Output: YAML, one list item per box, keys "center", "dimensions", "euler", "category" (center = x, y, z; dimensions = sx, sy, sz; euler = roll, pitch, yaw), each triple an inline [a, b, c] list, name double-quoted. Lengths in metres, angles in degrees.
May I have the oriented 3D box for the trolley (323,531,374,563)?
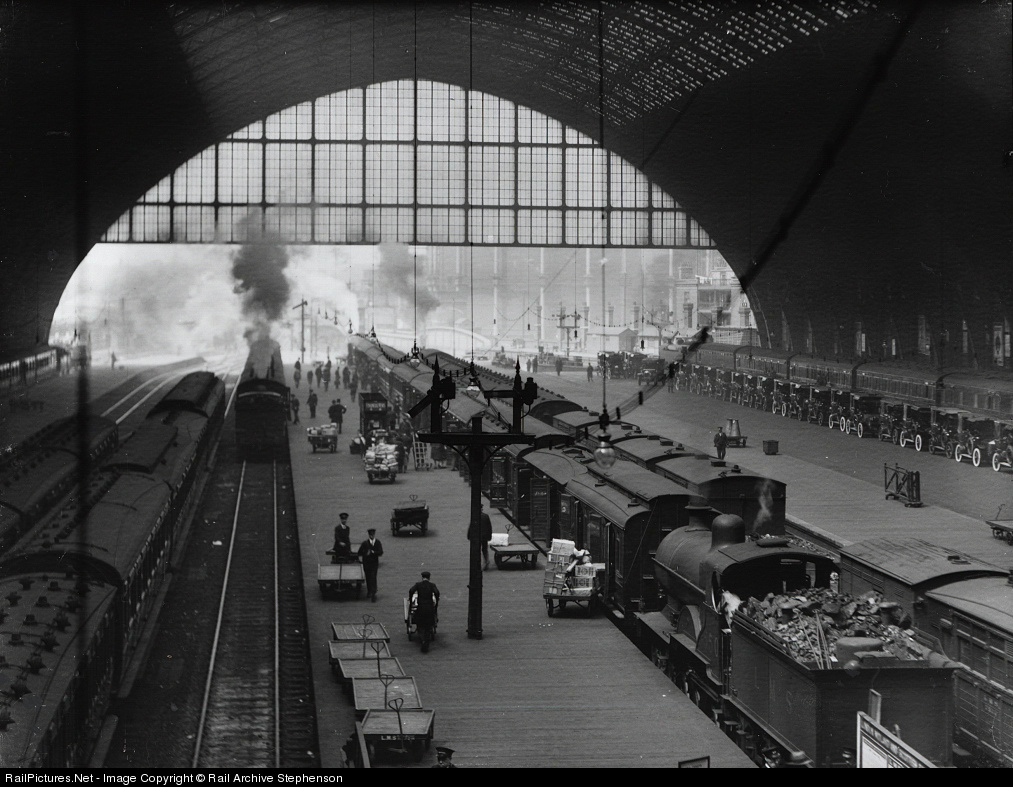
- center: [-3.455, 3.627, 26.310]
  dimensions: [1.055, 1.140, 1.059]
  euler: [1, -2, -1]
  category: "trolley"

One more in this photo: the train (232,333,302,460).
- center: [-13.512, -0.025, 65.560]
  dimensions: [2.629, 2.715, 32.229]
  euler: [-10, 7, -10]
  category: "train"
